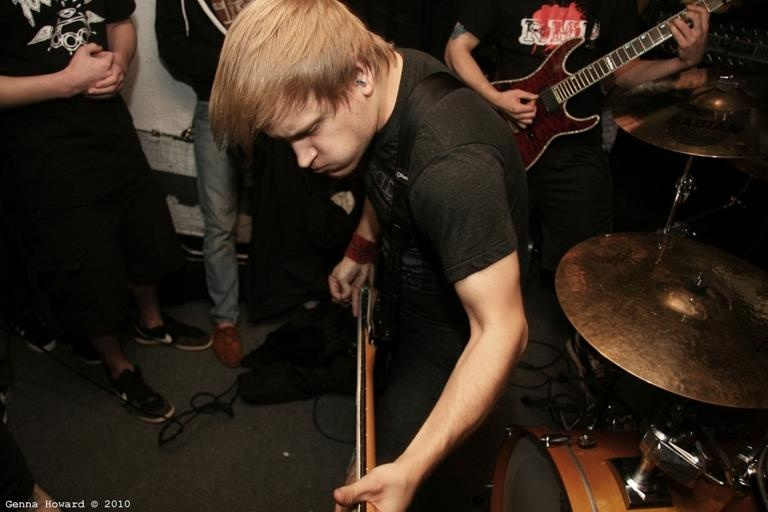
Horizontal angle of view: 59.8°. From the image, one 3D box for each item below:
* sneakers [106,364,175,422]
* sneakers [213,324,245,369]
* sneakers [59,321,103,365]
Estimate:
[{"bbox_3d":[-1.624,0.862,4.352,0.548,0.237,0.211,26,33,22],"label":"sneakers"},{"bbox_3d":[-1.094,0.633,4.684,0.199,0.115,0.372,1,38,-30],"label":"sneakers"},{"bbox_3d":[-1.962,0.574,4.354,0.104,0.117,0.312,-43,100,-30],"label":"sneakers"}]
